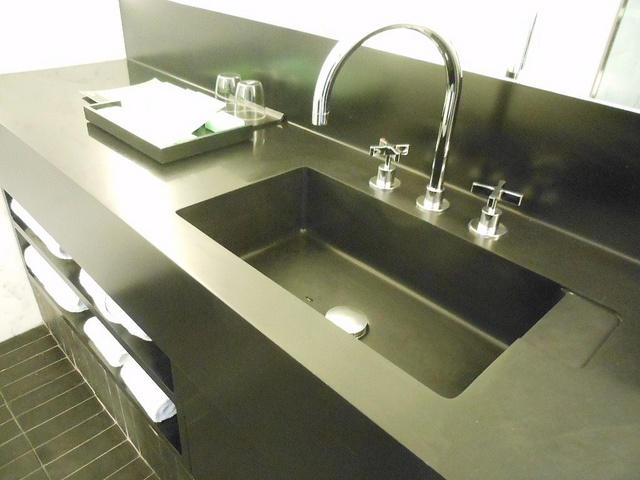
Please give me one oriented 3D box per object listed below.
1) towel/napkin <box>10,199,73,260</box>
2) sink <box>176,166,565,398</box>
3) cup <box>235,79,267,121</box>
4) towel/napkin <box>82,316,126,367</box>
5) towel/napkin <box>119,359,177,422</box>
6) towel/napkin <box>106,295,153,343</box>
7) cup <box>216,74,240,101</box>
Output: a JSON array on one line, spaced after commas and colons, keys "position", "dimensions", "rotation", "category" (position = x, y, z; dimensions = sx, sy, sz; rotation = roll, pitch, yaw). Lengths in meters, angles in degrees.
[{"position": [-0.937, -0.039, 1.751], "dimensions": [0.219, 0.105, 0.051], "rotation": [51, 31, 4], "category": "towel/napkin"}, {"position": [0.123, 0.058, 1.294], "dimensions": [0.872, 0.247, 0.335], "rotation": [25, 40, 21], "category": "sink"}, {"position": [-0.229, -0.461, 1.686], "dimensions": [0.109, 0.118, 0.109], "rotation": [-1, 35, 1], "category": "cup"}, {"position": [-0.718, 0.338, 1.736], "dimensions": [0.087, 0.020, 0.248], "rotation": [-36, 52, -16], "category": "towel/napkin"}, {"position": [-0.563, 0.502, 1.701], "dimensions": [0.119, 0.063, 0.249], "rotation": [-31, 54, -22], "category": "towel/napkin"}, {"position": [-0.567, 0.252, 1.612], "dimensions": [0.130, 0.152, 0.036], "rotation": [39, 87, 23], "category": "towel/napkin"}, {"position": [-0.296, -0.499, 1.670], "dimensions": [0.077, 0.076, 0.081], "rotation": [3, 35, -2], "category": "cup"}]
